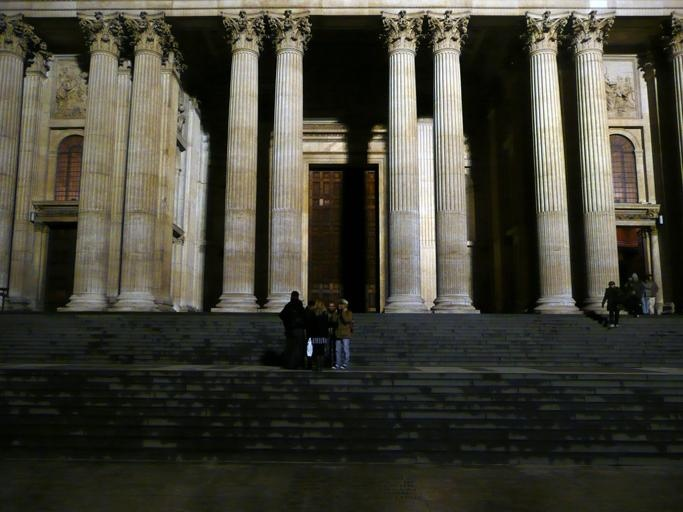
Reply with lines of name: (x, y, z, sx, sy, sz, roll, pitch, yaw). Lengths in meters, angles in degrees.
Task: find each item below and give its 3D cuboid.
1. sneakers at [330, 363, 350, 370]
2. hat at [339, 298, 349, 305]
sneakers: (-0.041, 3.324, 24.840, 0.506, 0.203, 0.164, 2, -10, 5)
hat: (0.082, 1.370, 25.413, 0.325, 0.099, 0.300, 4, -24, 5)
